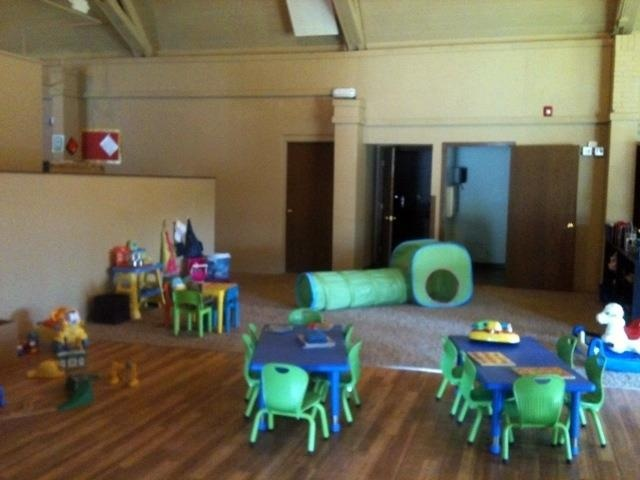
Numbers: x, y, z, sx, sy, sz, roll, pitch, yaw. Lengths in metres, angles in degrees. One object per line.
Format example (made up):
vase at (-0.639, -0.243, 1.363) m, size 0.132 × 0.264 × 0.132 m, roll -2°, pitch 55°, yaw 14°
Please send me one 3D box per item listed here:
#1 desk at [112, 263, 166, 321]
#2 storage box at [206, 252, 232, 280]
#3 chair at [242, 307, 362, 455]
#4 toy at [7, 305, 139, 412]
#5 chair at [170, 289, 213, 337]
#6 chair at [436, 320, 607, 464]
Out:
desk at (-2.542, 0.670, 7.370) m, size 0.356 × 0.642 × 0.965 m, roll 3°, pitch 3°, yaw 3°
storage box at (-1.572, 0.396, 8.223) m, size 0.475 × 0.655 × 0.346 m, roll 0°, pitch 4°, yaw -7°
chair at (-0.167, 1.130, 4.435) m, size 1.005 × 0.717 × 1.243 m, roll 2°, pitch 11°, yaw 5°
toy at (-2.463, 1.060, 5.245) m, size 0.870 × 0.514 × 1.732 m, roll -9°, pitch 15°, yaw -39°
chair at (-1.573, 0.881, 6.471) m, size 0.403 × 0.534 × 0.392 m, roll 2°, pitch 1°, yaw 21°
chair at (1.592, 1.157, 4.334) m, size 1.067 × 0.762 × 1.214 m, roll 0°, pitch 11°, yaw -6°
